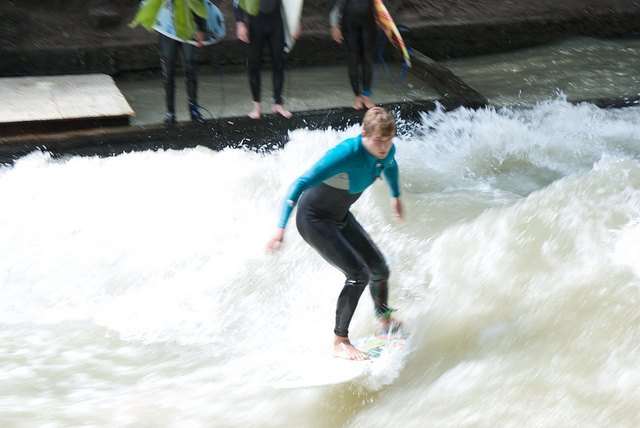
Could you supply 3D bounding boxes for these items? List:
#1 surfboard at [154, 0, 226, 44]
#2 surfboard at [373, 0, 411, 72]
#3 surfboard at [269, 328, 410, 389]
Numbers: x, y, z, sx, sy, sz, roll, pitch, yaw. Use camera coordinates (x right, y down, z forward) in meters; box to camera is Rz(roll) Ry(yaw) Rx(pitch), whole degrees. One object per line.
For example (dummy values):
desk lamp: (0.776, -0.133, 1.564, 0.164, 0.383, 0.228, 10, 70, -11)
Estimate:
surfboard: (-1.271, -1.885, 6.268, 0.791, 0.336, 0.200, -20, 8, -32)
surfboard: (0.708, -1.864, 6.602, 0.186, 0.713, 0.540, -19, 9, 10)
surfboard: (0.215, 1.098, 4.719, 1.317, 0.116, 0.383, -12, 24, -38)
